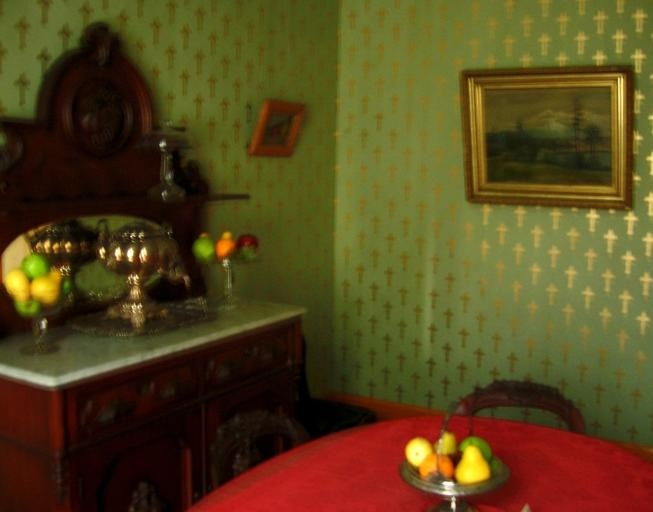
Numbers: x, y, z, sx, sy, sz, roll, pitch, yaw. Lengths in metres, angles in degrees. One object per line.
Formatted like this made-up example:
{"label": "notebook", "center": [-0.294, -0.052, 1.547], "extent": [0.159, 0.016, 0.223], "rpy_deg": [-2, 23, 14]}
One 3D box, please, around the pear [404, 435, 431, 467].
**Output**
{"label": "pear", "center": [0.304, 0.636, 2.006], "extent": [0.078, 0.083, 0.077], "rpy_deg": [-18, -20, 14]}

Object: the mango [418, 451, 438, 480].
{"label": "mango", "center": [0.326, 0.659, 1.917], "extent": [0.061, 0.063, 0.073], "rpy_deg": [33, -23, 20]}

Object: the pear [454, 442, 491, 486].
{"label": "pear", "center": [0.460, 0.659, 1.967], "extent": [0.103, 0.139, 0.104], "rpy_deg": [-1, -9, -33]}

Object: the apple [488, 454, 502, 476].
{"label": "apple", "center": [0.559, 0.682, 2.005], "extent": [0.052, 0.035, 0.048], "rpy_deg": [-1, 0, 33]}

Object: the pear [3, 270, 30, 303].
{"label": "pear", "center": [-1.358, 0.129, 2.733], "extent": [0.093, 0.136, 0.097], "rpy_deg": [-31, -11, 9]}

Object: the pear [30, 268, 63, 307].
{"label": "pear", "center": [-1.267, 0.156, 2.745], "extent": [0.111, 0.131, 0.103], "rpy_deg": [-10, 2, 42]}

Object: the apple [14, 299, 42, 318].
{"label": "apple", "center": [-1.323, 0.226, 2.700], "extent": [0.082, 0.086, 0.078], "rpy_deg": [3, -25, -8]}

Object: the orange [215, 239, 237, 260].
{"label": "orange", "center": [-0.582, -0.044, 3.562], "extent": [0.103, 0.131, 0.104], "rpy_deg": [-5, 12, -28]}

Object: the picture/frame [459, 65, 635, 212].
{"label": "picture/frame", "center": [1.576, -0.843, 4.219], "extent": [1.004, 0.899, 0.073], "rpy_deg": [1, 12, 20]}

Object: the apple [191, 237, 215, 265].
{"label": "apple", "center": [-0.704, -0.033, 3.514], "extent": [0.132, 0.169, 0.134], "rpy_deg": [1, -4, -22]}

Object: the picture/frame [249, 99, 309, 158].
{"label": "picture/frame", "center": [-0.335, -0.891, 4.214], "extent": [0.122, 0.414, 0.412], "rpy_deg": [20, 13, 31]}

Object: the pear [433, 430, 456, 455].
{"label": "pear", "center": [0.396, 0.591, 2.015], "extent": [0.073, 0.110, 0.078], "rpy_deg": [2, 0, 16]}

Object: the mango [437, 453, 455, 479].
{"label": "mango", "center": [0.371, 0.660, 1.929], "extent": [0.060, 0.077, 0.062], "rpy_deg": [-3, -5, 10]}

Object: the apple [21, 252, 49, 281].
{"label": "apple", "center": [-1.313, 0.051, 2.800], "extent": [0.106, 0.134, 0.109], "rpy_deg": [-11, -9, 26]}

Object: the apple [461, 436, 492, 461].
{"label": "apple", "center": [0.503, 0.617, 2.022], "extent": [0.077, 0.099, 0.083], "rpy_deg": [-1, -6, 18]}
